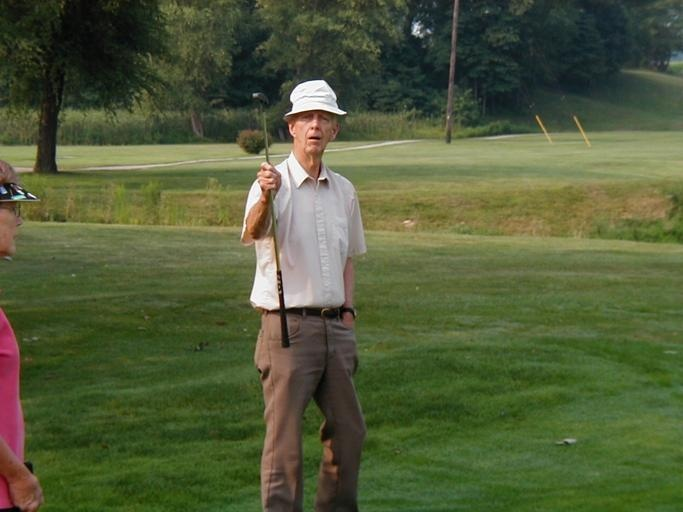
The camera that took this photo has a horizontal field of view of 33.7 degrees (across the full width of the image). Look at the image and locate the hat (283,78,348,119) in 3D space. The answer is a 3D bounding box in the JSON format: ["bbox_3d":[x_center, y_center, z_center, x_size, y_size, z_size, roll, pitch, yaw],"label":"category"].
[{"bbox_3d":[-0.327,-1.921,13.874,0.508,0.293,0.535,-1,0,0],"label":"hat"}]
